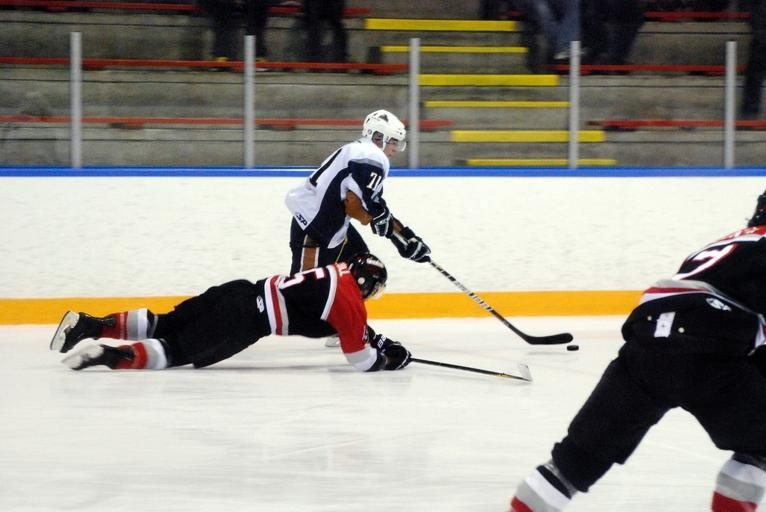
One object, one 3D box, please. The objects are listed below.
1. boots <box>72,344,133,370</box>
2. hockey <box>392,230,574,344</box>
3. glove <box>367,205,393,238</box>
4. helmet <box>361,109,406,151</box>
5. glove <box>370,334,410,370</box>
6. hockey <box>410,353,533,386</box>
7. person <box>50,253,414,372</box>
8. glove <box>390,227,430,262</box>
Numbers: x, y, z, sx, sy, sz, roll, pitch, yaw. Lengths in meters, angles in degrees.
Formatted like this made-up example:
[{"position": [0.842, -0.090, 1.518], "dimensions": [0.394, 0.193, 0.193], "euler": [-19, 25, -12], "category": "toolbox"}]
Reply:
[{"position": [-1.504, 0.526, 5.542], "dimensions": [0.418, 0.095, 0.153], "euler": [-4, 0, -15], "category": "boots"}, {"position": [0.623, 0.207, 7.110], "dimensions": [1.251, 0.118, 0.194], "euler": [31, 12, 10], "category": "hockey"}, {"position": [-0.015, -0.212, 6.360], "dimensions": [0.135, 0.190, 0.133], "euler": [1, 11, -1], "category": "glove"}, {"position": [0.010, -0.800, 6.580], "dimensions": [0.393, 0.245, 0.246], "euler": [-1, 12, -6], "category": "helmet"}, {"position": [0.040, 0.558, 5.950], "dimensions": [0.261, 0.093, 0.179], "euler": [26, 8, -40], "category": "glove"}, {"position": [0.500, 0.655, 5.941], "dimensions": [0.781, 0.072, 0.093], "euler": [3, -39, 25], "category": "hockey"}, {"position": [-0.811, 0.285, 5.814], "dimensions": [1.954, 0.417, 0.655], "euler": [-2, 7, -9], "category": "person"}, {"position": [0.165, -0.065, 6.474], "dimensions": [0.304, 0.118, 0.159], "euler": [32, -23, 7], "category": "glove"}]
